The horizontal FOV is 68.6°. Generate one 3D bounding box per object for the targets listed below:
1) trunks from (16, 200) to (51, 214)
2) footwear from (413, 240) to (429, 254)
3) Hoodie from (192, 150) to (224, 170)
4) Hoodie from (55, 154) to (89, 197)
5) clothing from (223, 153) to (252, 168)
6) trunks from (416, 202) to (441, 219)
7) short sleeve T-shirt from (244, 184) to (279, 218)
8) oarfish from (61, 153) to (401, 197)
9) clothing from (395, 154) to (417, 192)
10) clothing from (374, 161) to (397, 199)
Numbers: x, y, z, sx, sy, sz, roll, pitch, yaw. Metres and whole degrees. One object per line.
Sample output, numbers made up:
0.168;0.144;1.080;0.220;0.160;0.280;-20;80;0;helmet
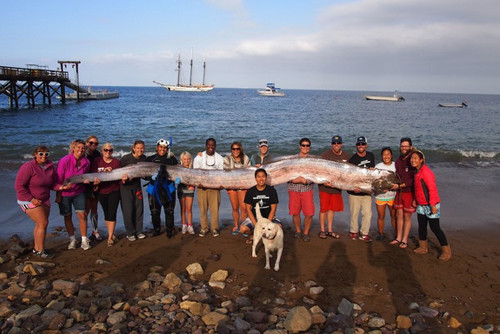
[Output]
-5.413;0.961;9.065;0.489;0.256;0.401;-2;2;19;trunks
4.437;2.129;9.696;0.497;0.392;0.228;1;4;14;footwear
-1.210;-0.160;10.644;0.891;0.648;0.460;0;4;-4;Hoodie
-4.629;0.222;9.554;0.636;1.179;1.146;4;3;31;Hoodie
-0.349;-0.312;10.518;0.720;0.676;0.394;1;-9;-7;clothing
4.607;1.134;9.418;0.373;0.409;0.570;0;-7;-37;trunks
0.274;0.901;9.284;0.841;0.859;0.384;-2;14;-1;short sleeve T-shirt
-0.551;0.214;9.998;8.110;1.146;0.746;0;-33;5;oarfish
4.121;0.186;9.760;0.478;0.945;0.423;3;15;15;clothing
3.731;0.381;9.953;0.361;0.895;0.673;3;0;11;clothing
